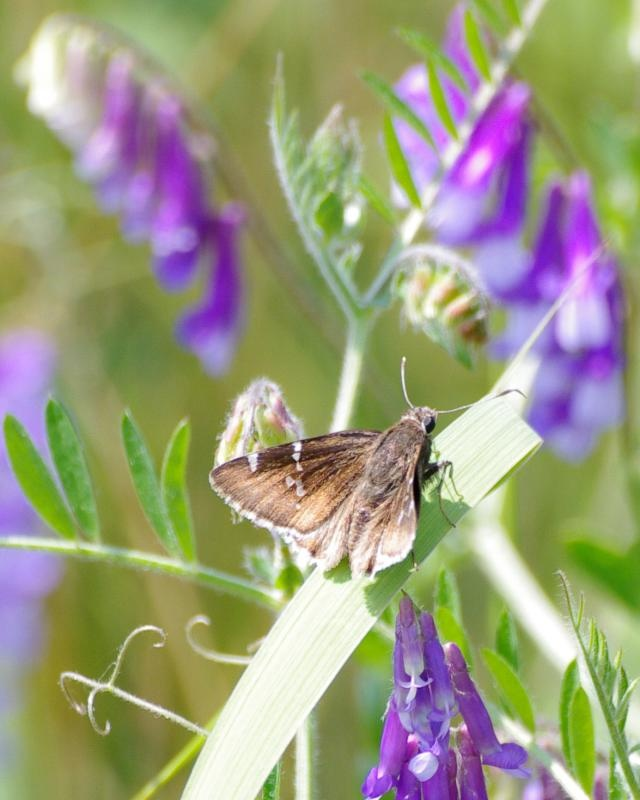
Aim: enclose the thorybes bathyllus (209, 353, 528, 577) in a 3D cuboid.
[{"bbox_3d":[0.090,0.111,1.173,0.373,0.205,0.349,-28,21,-37],"label":"thorybes bathyllus"}]
